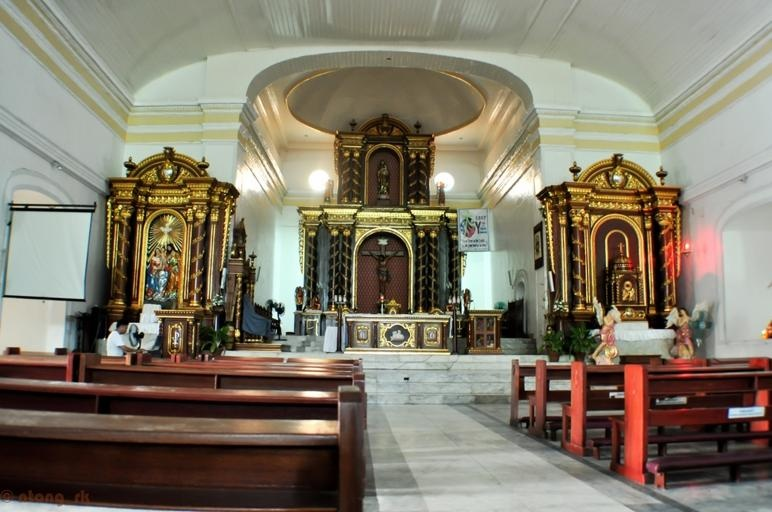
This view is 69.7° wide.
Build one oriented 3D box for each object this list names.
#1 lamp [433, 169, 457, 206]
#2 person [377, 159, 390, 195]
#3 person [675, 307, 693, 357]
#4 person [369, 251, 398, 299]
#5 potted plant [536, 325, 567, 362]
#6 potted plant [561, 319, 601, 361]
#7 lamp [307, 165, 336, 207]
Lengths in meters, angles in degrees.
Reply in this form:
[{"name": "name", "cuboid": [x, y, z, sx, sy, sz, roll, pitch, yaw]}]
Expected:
[{"name": "lamp", "cuboid": [2.139, -2.484, 20.170, 0.753, 1.484, 2.765, 1, 0, 6]}, {"name": "person", "cuboid": [-0.074, -2.607, 18.973, 0.427, 1.311, 0.319, 1, -1, -2]}, {"name": "person", "cuboid": [6.180, 1.604, 11.467, 0.303, 0.979, 0.458, 1, -1, 27]}, {"name": "person", "cuboid": [-0.088, 0.546, 18.178, 0.746, 1.478, 0.368, 1, -1, 1]}, {"name": "potted plant", "cuboid": [3.744, 2.019, 12.426, 0.657, 0.627, 0.600, 5, -7, -30]}, {"name": "potted plant", "cuboid": [4.411, 1.942, 12.330, 0.536, 0.742, 0.688, 12, 2, -24]}, {"name": "lamp", "cuboid": [-2.345, -2.652, 19.988, 0.714, 0.769, 1.704, -10, 0, -4]}]
